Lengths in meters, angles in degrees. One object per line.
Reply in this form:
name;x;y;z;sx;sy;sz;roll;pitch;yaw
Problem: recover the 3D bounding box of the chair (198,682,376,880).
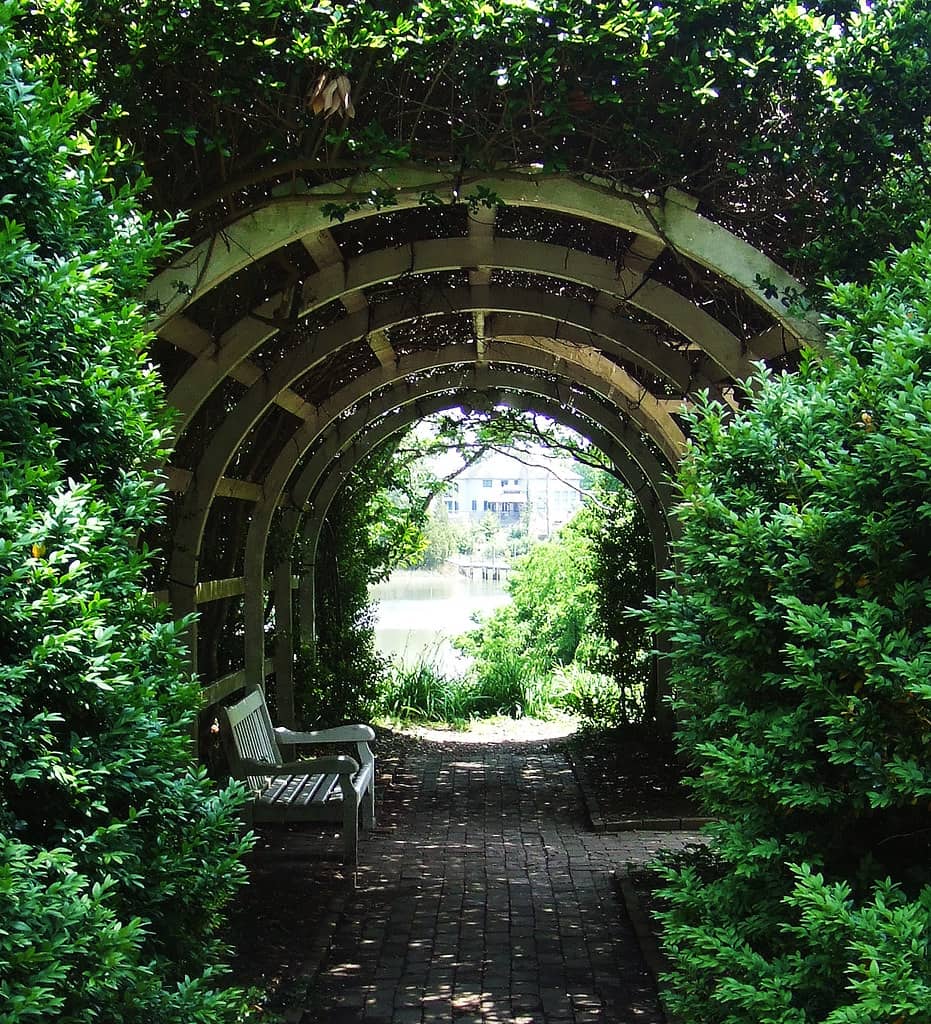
chair;-0.987;1.599;5.190;0.778;0.812;1.283;1;-6;-3
